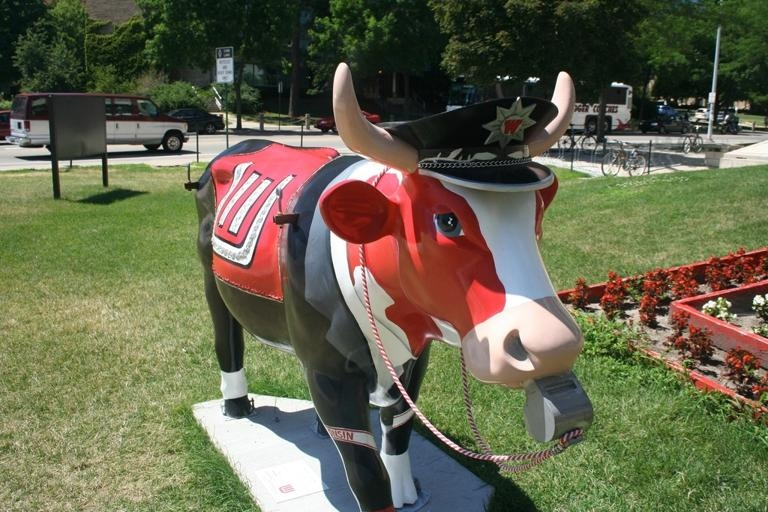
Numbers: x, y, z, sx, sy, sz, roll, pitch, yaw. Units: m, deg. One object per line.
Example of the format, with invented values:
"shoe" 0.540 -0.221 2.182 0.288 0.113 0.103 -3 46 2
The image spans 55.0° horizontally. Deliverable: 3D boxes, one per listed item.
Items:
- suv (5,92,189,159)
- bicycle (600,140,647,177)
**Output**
"suv" -9.702 -4.567 25.695 2.128 2.083 5.871 6 13 29
"bicycle" 7.270 -2.957 22.324 1.271 0.878 2.063 4 12 19
